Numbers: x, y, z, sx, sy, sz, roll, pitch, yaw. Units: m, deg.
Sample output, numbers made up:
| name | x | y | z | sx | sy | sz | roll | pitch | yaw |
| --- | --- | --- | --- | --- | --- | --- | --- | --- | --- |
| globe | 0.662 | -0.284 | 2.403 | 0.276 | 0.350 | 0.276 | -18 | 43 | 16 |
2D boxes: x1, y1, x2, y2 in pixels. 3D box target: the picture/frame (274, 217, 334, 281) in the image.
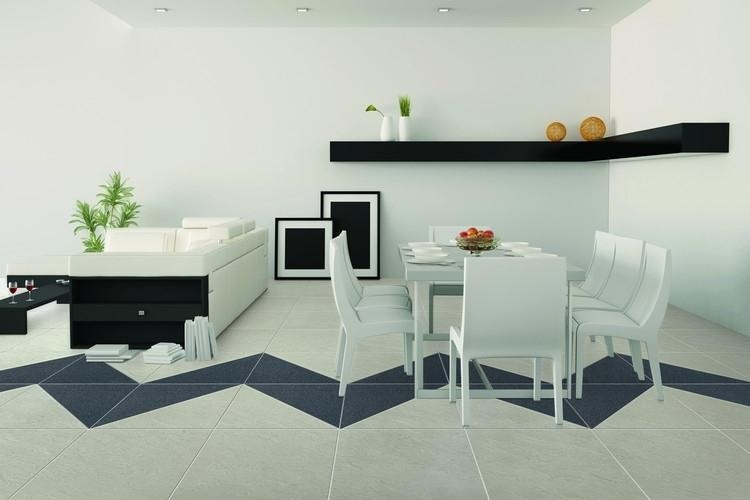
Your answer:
| name | x | y | z | sx | sy | sz | roll | pitch | yaw |
| --- | --- | --- | --- | --- | --- | --- | --- | --- | --- |
| picture/frame | -1.061 | -0.023 | 8.208 | 1.106 | 0.978 | 0.073 | 0 | 5 | 1 |

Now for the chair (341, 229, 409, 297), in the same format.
| name | x | y | z | sx | sy | sz | roll | pitch | yaw |
| --- | --- | --- | --- | --- | --- | --- | --- | --- | --- |
| chair | -0.026 | 0.151 | 5.130 | 0.679 | 0.726 | 0.455 | -3 | 10 | 1 |

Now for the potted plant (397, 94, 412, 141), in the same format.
| name | x | y | z | sx | sy | sz | roll | pitch | yaw |
| --- | --- | --- | --- | --- | --- | --- | --- | --- | --- |
| potted plant | 0.461 | -2.034 | 8.247 | 0.197 | 0.693 | 0.313 | -1 | 11 | 2 |

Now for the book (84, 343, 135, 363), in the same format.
| name | x | y | z | sx | sy | sz | roll | pitch | yaw |
| --- | --- | --- | --- | --- | --- | --- | --- | --- | --- |
| book | -2.436 | 0.950 | 5.021 | 0.423 | 0.107 | 0.300 | 1 | 10 | 10 |

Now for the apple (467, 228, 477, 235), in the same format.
| name | x | y | z | sx | sy | sz | roll | pitch | yaw |
| --- | --- | --- | --- | --- | --- | --- | --- | --- | --- |
| apple | 0.878 | -0.172 | 4.806 | 0.091 | 0.077 | 0.086 | -5 | 9 | -29 |

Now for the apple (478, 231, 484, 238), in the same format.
| name | x | y | z | sx | sy | sz | roll | pitch | yaw |
| --- | --- | --- | --- | --- | --- | --- | --- | --- | --- |
| apple | 0.938 | -0.140 | 4.772 | 0.072 | 0.028 | 0.110 | 0 | 13 | 11 |

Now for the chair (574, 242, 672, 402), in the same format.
| name | x | y | z | sx | sy | sz | roll | pitch | yaw |
| --- | --- | --- | --- | --- | --- | --- | --- | --- | --- |
| chair | 1.978 | 0.562 | 4.527 | 0.952 | 1.072 | 0.811 | -5 | 7 | -12 |

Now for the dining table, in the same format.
| name | x | y | z | sx | sy | sz | roll | pitch | yaw |
| --- | --- | --- | --- | --- | --- | --- | --- | --- | --- |
| dining table | 0.778 | 0.615 | 4.983 | 1.092 | 0.764 | 1.578 | 0 | 0 | 0 |

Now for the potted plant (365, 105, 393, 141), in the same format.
| name | x | y | z | sx | sy | sz | roll | pitch | yaw |
| --- | --- | --- | --- | --- | --- | --- | --- | --- | --- |
| potted plant | 0.081 | -1.972 | 8.250 | 0.451 | 0.575 | 0.301 | 0 | 11 | 2 |
